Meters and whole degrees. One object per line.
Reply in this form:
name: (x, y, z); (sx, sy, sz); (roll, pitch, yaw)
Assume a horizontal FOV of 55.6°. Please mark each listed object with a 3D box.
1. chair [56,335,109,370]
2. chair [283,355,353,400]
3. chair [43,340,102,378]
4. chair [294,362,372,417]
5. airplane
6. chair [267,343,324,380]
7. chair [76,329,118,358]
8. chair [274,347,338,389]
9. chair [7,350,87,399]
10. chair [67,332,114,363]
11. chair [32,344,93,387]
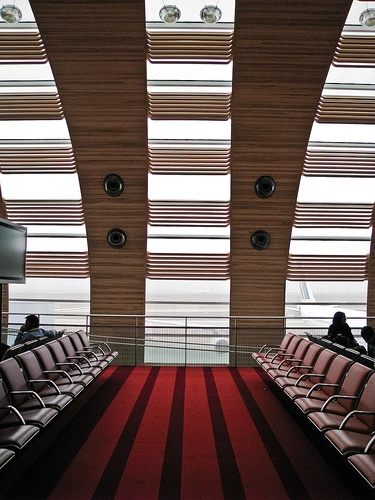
chair: (-1.623, 1.541, 5.527); (0.385, 0.563, 0.542); (-32, -105, 2)
chair: (1.407, 1.379, 3.896); (0.608, 0.422, 0.486); (6, -96, -13)
chair: (-1.626, 1.547, 5.084); (0.499, 0.456, 0.738); (-15, -99, 5)
chair: (1.359, 1.307, 3.459); (0.564, 0.391, 0.613); (9, -100, -9)
airplane: (9.873, 3.702, 25.687); (5.125, 4.732, 2.209); (-5, -91, 38)
chair: (1.496, 1.543, 4.956); (0.627, 0.498, 0.713); (6, -96, -10)
chair: (-1.729, 1.707, 6.629); (0.781, 0.569, 0.620); (-3, -93, -1)
chair: (1.456, 1.459, 4.444); (0.584, 0.436, 0.653); (9, -98, -11)
chair: (-1.577, 1.324, 4.089); (0.581, 0.453, 0.691); (-21, -98, 8)
chair: (-1.648, 1.694, 6.194); (0.624, 0.849, 0.532); (-2, -96, 0)
chair: (-1.575, 1.449, 4.525); (0.471, 0.458, 0.714); (-16, -99, 8)
